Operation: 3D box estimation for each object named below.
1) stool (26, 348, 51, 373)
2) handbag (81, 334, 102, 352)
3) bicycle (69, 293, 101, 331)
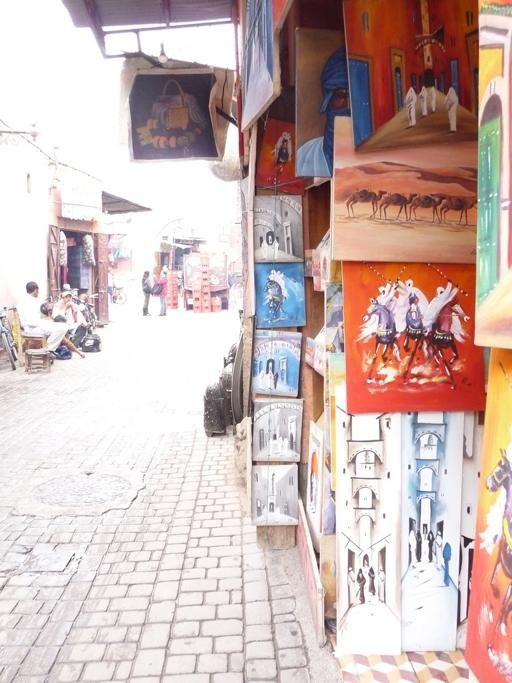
[{"bbox_3d":[-4.742,0.383,11.130,0.449,0.614,0.471,-5,11,-39],"label":"stool"},{"bbox_3d":[-4.428,0.068,13.870,0.357,0.560,0.454,3,12,3],"label":"handbag"},{"bbox_3d":[-5.010,-0.903,15.038,0.533,0.933,1.262,-1,30,0],"label":"bicycle"}]
